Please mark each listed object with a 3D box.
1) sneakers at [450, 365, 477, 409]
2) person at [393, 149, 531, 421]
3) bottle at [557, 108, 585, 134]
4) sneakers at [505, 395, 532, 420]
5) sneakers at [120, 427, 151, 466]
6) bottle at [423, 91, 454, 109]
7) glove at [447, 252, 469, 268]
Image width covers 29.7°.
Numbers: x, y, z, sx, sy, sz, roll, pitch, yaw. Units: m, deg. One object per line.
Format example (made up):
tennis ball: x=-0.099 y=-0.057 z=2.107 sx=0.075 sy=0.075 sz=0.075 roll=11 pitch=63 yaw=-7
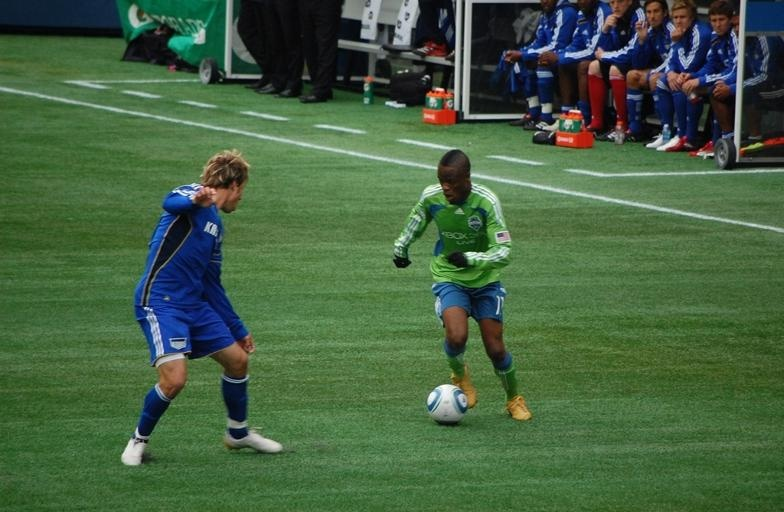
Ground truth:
sneakers: x=0.601 y=1.163 z=13.075 sx=0.130 sy=0.341 sz=0.269 roll=-33 pitch=-18 yaw=27
person: x=0.667 y=0.222 z=13.091 sx=0.703 sy=2.302 sz=1.280 roll=-4 pitch=15 yaw=-35
bottle: x=2.386 y=-1.854 z=20.248 sx=0.365 sy=0.269 sz=0.355 roll=1 pitch=5 yaw=0
sneakers: x=1.088 y=1.340 z=12.976 sx=0.151 sy=0.112 sz=0.285 roll=-6 pitch=3 yaw=-19
sneakers: x=-2.111 y=1.580 z=12.435 sx=0.173 sy=0.166 sz=0.366 roll=22 pitch=38 yaw=-12
bottle: x=0.665 y=-2.296 z=21.880 sx=0.346 sy=0.191 sz=0.333 roll=1 pitch=3 yaw=0
glove: x=0.547 y=0.032 z=12.805 sx=0.180 sy=0.147 sz=0.096 roll=3 pitch=12 yaw=-3
